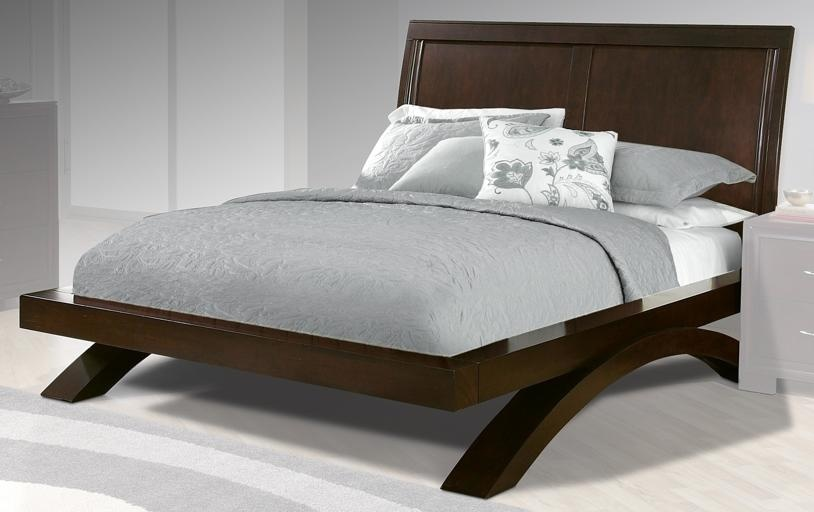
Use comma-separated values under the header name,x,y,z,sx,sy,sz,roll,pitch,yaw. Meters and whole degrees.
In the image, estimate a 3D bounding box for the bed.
name,x,y,z,sx,sy,sz,roll,pitch,yaw
bed,0.078,-0.216,2.847,2.950,1.467,2.686,-28,33,-35
